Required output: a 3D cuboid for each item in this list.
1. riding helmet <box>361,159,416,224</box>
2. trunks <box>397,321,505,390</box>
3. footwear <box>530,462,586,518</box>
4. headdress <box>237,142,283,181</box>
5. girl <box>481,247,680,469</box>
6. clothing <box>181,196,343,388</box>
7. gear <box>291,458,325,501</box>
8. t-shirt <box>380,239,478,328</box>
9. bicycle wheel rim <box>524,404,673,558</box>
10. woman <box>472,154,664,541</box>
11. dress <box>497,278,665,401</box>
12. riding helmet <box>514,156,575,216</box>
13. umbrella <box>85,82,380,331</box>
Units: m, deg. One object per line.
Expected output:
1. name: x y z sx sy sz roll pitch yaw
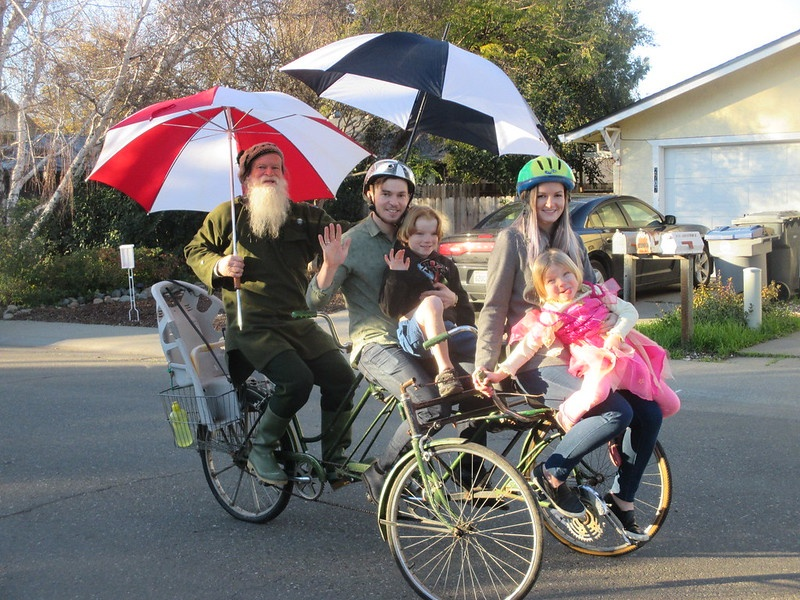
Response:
1. riding helmet: -0.077 -0.791 5.278 0.306 0.436 0.422 4 -14 -11
2. trunks: 0.248 0.283 4.878 0.298 0.492 0.194 -36 -14 26
3. footwear: 0.953 1.158 4.589 0.376 0.151 0.194 43 11 8
4. headdress: -0.991 -0.951 5.427 0.280 0.142 0.228 -43 42 -20
5. girl: 1.057 0.265 4.617 1.086 1.112 0.594 -14 2 1
6. clothing: -0.851 0.021 5.946 1.315 1.715 1.071 -6 -5 -42
7. gear: -0.626 1.223 5.230 0.261 0.322 0.043 11 17 24
8. t-shirt: 0.254 -0.124 5.063 0.404 0.402 0.225 -16 -16 -5
9. bicycle wheel rim: 1.210 1.116 4.711 0.872 1.016 0.282 -4 0 11
10. woman: 1.091 0.306 4.793 1.008 2.489 0.995 -13 11 -43
11. dress: 1.108 0.177 4.653 0.816 0.625 0.804 -10 32 -13
12. riding helmet: 0.934 -0.777 4.988 0.240 0.355 0.268 3 33 -3
13. umbrella: -1.502 -0.568 6.479 2.078 2.057 2.212 4 1 22
